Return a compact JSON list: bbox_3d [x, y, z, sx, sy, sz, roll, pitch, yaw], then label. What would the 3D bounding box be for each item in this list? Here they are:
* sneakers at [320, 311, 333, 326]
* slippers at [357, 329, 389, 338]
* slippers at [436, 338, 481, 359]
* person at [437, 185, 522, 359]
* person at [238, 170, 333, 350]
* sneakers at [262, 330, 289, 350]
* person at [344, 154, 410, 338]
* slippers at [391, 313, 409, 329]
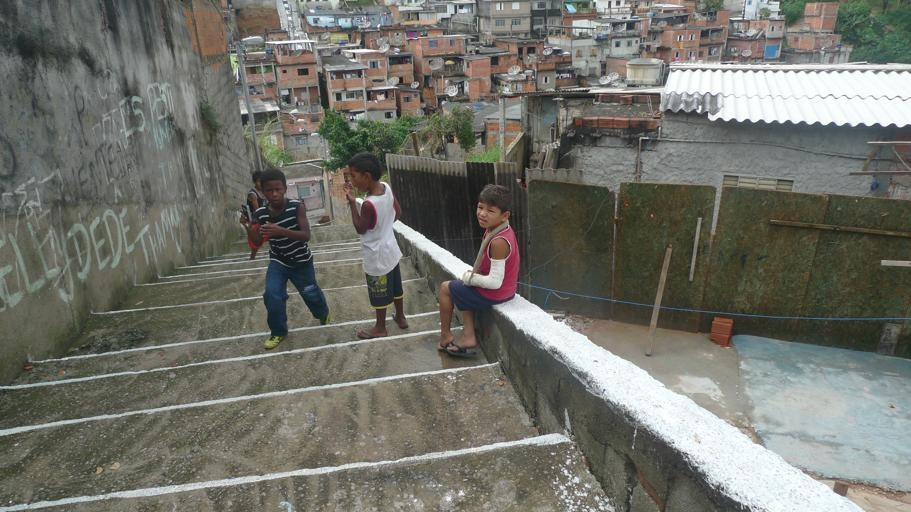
[{"bbox_3d":[-1.689,0.797,7.475,0.077,0.154,0.221,5,62,-1],"label":"sneakers"},{"bbox_3d":[-1.055,0.974,7.097,0.305,0.080,0.145,5,10,-5],"label":"slippers"},{"bbox_3d":[0.056,1.108,6.785,0.454,0.120,0.186,5,10,-2],"label":"slippers"},{"bbox_3d":[0.250,0.206,6.527,0.915,1.972,0.386,-2,19,-2],"label":"person"},{"bbox_3d":[-2.096,-0.013,7.061,0.880,2.086,0.620,-14,23,-31],"label":"person"},{"bbox_3d":[-2.213,1.025,7.064,0.136,0.149,0.339,10,32,22],"label":"sneakers"},{"bbox_3d":[-0.994,-0.177,7.122,0.644,2.253,0.922,-4,19,-8],"label":"person"},{"bbox_3d":[-0.723,0.834,7.317,0.099,0.122,0.288,-12,22,-27],"label":"slippers"}]
